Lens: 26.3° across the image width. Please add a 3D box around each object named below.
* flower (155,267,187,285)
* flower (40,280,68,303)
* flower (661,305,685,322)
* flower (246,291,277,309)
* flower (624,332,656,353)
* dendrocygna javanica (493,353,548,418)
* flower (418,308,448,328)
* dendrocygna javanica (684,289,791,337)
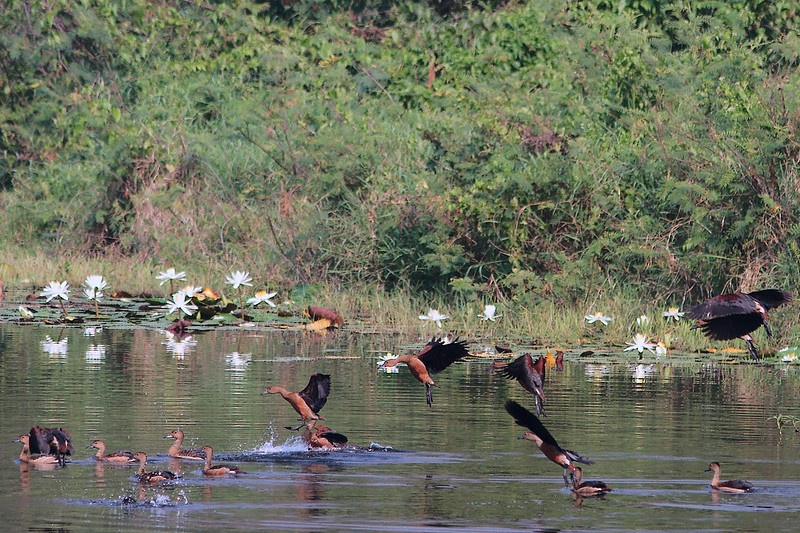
[{"bbox_3d":[-4.151,0.269,31.100,0.480,0.248,0.477,-9,10,2],"label":"flower"},{"bbox_3d":[-6.143,0.504,30.628,0.529,0.330,0.534,-1,1,9],"label":"flower"},{"bbox_3d":[4.487,0.809,27.905,0.280,0.133,0.288,0,7,24],"label":"flower"},{"bbox_3d":[-2.447,0.652,30.778,0.375,0.126,0.370,-24,23,-5],"label":"flower"},{"bbox_3d":[3.835,1.262,27.054,0.345,0.197,0.344,-2,3,6],"label":"flower"},{"bbox_3d":[1.687,1.421,21.782,0.738,0.428,0.896,31,9,13],"label":"dendrocygna javanica"},{"bbox_3d":[0.626,0.898,28.617,0.357,0.143,0.358,3,-5,40],"label":"flower"},{"bbox_3d":[4.348,0.629,22.507,1.112,0.428,0.737,-19,15,-39],"label":"dendrocygna javanica"}]
